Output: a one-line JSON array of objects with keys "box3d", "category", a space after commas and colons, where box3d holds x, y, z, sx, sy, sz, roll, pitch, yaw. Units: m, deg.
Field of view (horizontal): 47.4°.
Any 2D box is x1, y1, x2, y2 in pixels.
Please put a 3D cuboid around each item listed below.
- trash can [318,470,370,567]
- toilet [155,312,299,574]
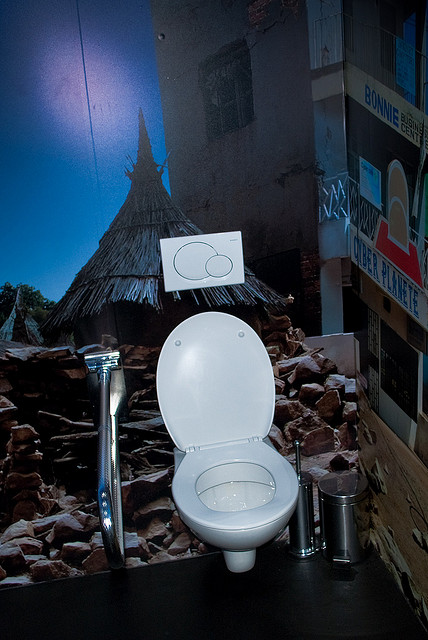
[{"box3d": [0.448, 0.689, 1.694, 0.178, 0.262, 0.182, -7, 10, -7], "category": "trash can"}, {"box3d": [0.041, 0.310, 1.385, 0.377, 0.597, 0.515, -7, 10, -8], "category": "toilet"}]
